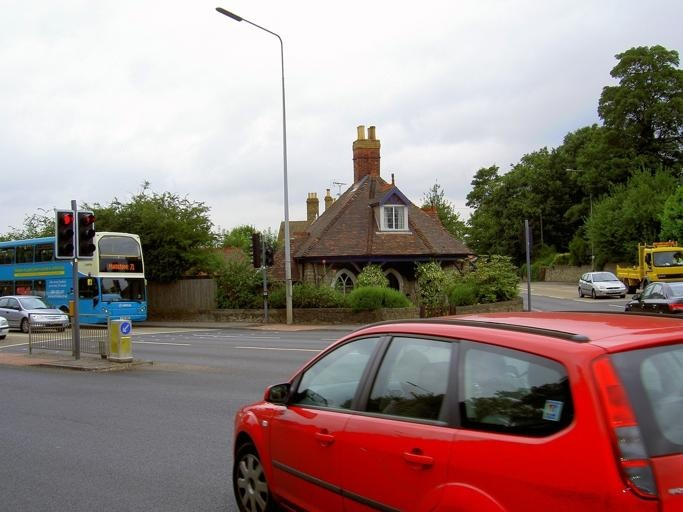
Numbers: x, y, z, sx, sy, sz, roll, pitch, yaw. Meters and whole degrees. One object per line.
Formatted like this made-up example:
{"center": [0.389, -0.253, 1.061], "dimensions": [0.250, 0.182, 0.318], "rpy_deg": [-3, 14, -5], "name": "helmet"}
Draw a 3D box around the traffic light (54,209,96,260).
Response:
{"center": [-7.236, -0.584, 16.103], "dimensions": [0.953, 1.281, 0.385], "rpy_deg": [-1, -2, -28], "name": "traffic light"}
